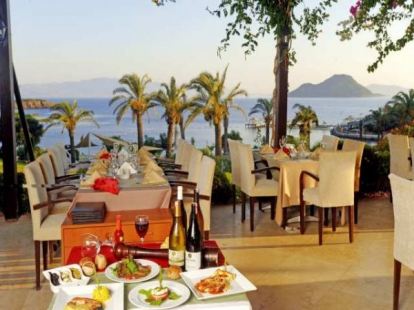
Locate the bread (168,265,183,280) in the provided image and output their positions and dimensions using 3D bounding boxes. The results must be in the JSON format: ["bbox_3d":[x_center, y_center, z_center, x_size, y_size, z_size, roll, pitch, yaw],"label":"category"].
[{"bbox_3d":[-0.243,0.861,2.798,0.078,0.103,0.029,5,-11,-1],"label":"bread"}]

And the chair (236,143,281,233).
[{"bbox_3d":[0.900,0.473,6.199,0.719,1.230,0.756,-1,2,-26],"label":"chair"}]

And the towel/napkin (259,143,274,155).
[{"bbox_3d":[1.088,-0.107,7.057,0.248,0.132,0.362,-1,0,-1],"label":"towel/napkin"}]

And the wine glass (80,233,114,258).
[{"bbox_3d":[-0.923,0.754,3.195,0.232,0.248,0.146,13,-17,-41],"label":"wine glass"}]

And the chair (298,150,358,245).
[{"bbox_3d":[1.726,0.568,5.588,0.817,1.353,0.759,5,13,23],"label":"chair"}]

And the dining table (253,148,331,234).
[{"bbox_3d":[1.334,0.300,6.237,0.913,1.120,1.401,-3,11,-14],"label":"dining table"}]
